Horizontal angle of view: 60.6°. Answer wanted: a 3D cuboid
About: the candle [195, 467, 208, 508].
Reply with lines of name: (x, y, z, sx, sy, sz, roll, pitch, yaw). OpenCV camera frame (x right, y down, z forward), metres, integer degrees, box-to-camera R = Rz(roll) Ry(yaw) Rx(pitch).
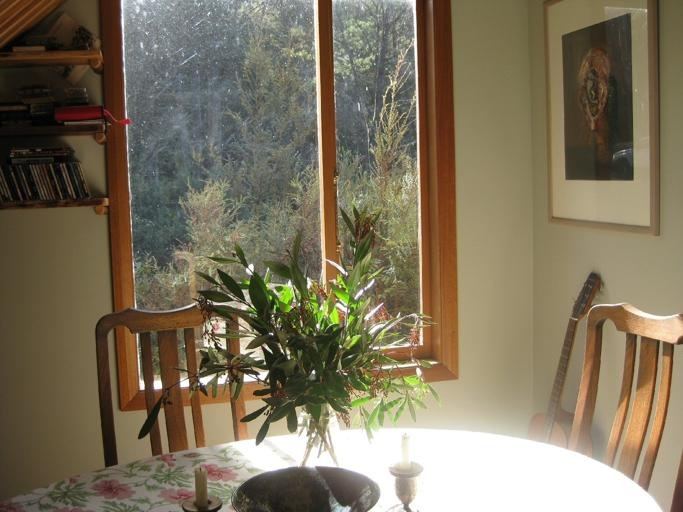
candle: (-0.382, 0.623, 1.577, 0.058, 0.095, 0.033, 3, 7, 35)

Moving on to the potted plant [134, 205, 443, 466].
potted plant: (-0.122, 0.242, 2.115, 0.799, 0.851, 1.178, -1, 7, 1)

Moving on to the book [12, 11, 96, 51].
book: (-1.352, -1.039, 2.719, 0.180, 0.193, 0.044, 33, -29, -2)

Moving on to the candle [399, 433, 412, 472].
candle: (0.168, 0.515, 1.546, 0.021, 0.083, 0.022, -1, 6, 0)
